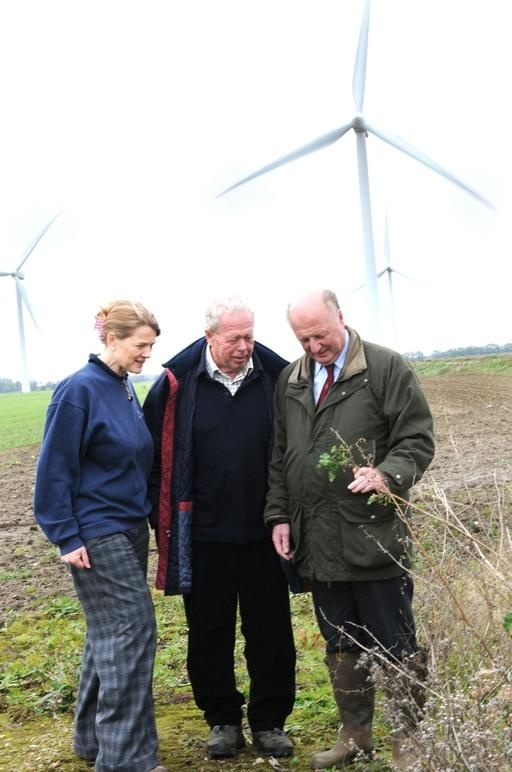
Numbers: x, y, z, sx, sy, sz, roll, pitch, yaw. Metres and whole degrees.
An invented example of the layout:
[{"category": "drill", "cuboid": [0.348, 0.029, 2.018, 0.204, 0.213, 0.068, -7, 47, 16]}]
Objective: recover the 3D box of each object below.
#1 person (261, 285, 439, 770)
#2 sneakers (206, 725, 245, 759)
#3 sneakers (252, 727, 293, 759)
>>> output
[{"category": "person", "cuboid": [0.429, 0.668, 2.927, 0.502, 2.317, 0.909, -1, -10, -45]}, {"category": "sneakers", "cuboid": [-0.161, 1.895, 3.124, 0.164, 0.136, 0.224, -8, -8, 7]}, {"category": "sneakers", "cuboid": [0.092, 1.883, 3.101, 0.090, 0.086, 0.207, 4, -20, -34]}]
